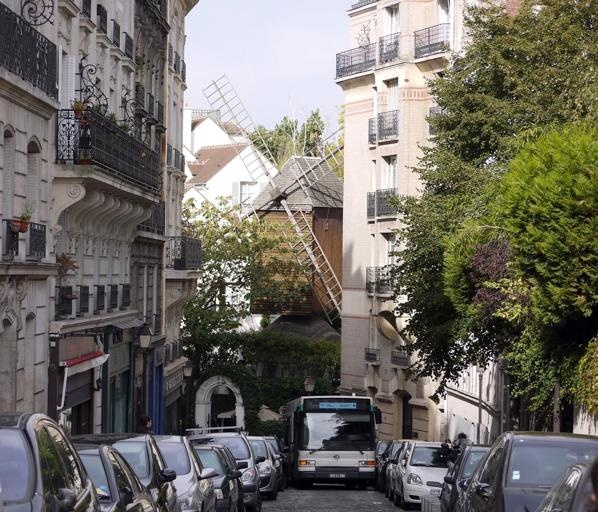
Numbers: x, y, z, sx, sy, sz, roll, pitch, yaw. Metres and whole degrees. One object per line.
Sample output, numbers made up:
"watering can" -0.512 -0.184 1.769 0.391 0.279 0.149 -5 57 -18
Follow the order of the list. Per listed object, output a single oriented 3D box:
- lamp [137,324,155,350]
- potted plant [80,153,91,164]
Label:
"lamp" -4.788 2.447 44.999 0.375 0.787 1.446 1 -9 -6
"potted plant" -5.267 -2.418 35.716 0.238 0.281 0.474 -1 1 -10
